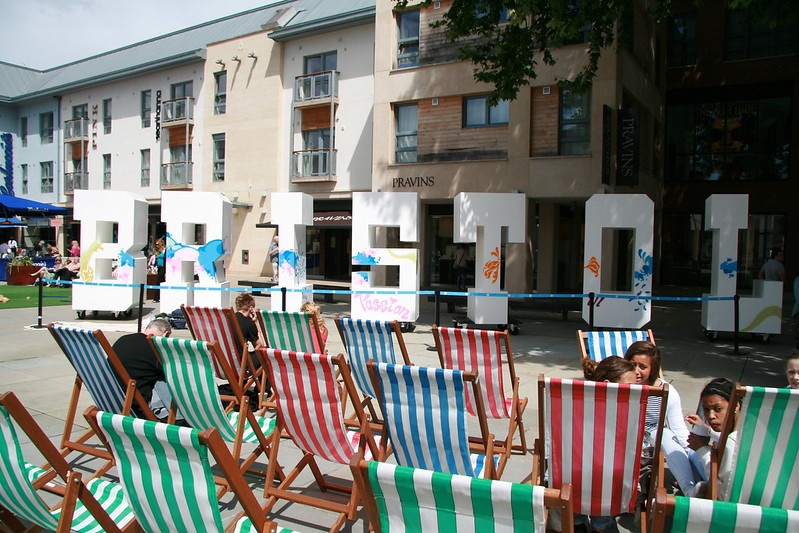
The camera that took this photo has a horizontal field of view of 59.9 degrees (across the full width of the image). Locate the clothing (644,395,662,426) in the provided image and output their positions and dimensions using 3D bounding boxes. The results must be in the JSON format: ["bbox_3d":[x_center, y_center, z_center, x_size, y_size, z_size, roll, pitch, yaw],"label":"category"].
[{"bbox_3d":[2.914,1.633,7.957,0.104,0.456,0.453,7,-6,20],"label":"clothing"}]

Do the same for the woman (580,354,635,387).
[{"bbox_3d":[2.489,1.222,8.251,0.543,0.482,0.423,-2,-2,24],"label":"woman"}]

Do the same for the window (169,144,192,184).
[{"bbox_3d":[-10.428,-4.853,33.295,1.115,2.079,1.518,1,5,-14],"label":"window"}]

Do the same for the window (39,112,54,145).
[{"bbox_3d":[-20.560,-8.127,40.612,1.881,2.447,0.149,0,0,38],"label":"window"}]

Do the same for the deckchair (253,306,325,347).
[{"bbox_3d":[-1.601,0.908,10.272,0.518,0.843,0.808,-4,11,15],"label":"deckchair"}]

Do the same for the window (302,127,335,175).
[{"bbox_3d":[-3.338,-4.760,28.615,0.211,1.922,1.540,11,18,43],"label":"window"}]

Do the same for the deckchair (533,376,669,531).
[{"bbox_3d":[2.311,1.969,8.170,1.391,2.120,1.993,3,13,15],"label":"deckchair"}]

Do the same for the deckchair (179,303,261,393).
[{"bbox_3d":[-2.723,1.272,10.894,0.945,1.482,1.555,4,1,11],"label":"deckchair"}]

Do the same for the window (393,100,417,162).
[{"bbox_3d":[0.291,-4.631,23.941,0.795,1.960,0.188,-6,35,-11],"label":"window"}]

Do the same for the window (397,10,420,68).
[{"bbox_3d":[0.362,-7.754,23.706,0.916,1.909,0.140,0,1,25],"label":"window"}]

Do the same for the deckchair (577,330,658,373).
[{"bbox_3d":[3.125,1.239,10.528,0.554,0.561,0.780,-1,1,7],"label":"deckchair"}]

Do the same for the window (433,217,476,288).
[{"bbox_3d":[2.076,-0.581,25.359,1.581,2.593,2.391,-2,3,-26],"label":"window"}]

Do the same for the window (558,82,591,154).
[{"bbox_3d":[5.324,-4.402,21.070,0.947,2.018,0.352,0,3,20],"label":"window"}]

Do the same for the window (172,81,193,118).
[{"bbox_3d":[-10.264,-7.849,32.725,1.340,1.759,0.078,0,-7,16],"label":"window"}]

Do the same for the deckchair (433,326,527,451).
[{"bbox_3d":[1.142,1.682,9.520,1.344,1.771,1.651,0,-2,45],"label":"deckchair"}]

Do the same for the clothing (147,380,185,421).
[{"bbox_3d":[-3.020,1.728,9.057,0.429,0.628,0.473,1,-2,-1],"label":"clothing"}]
